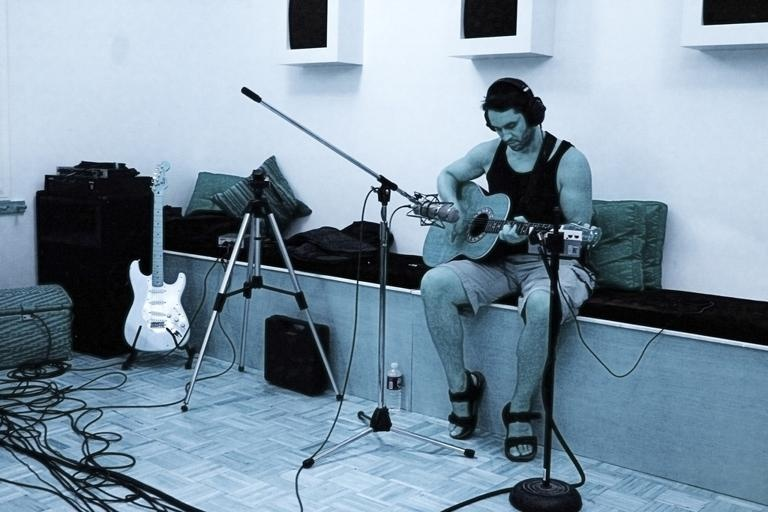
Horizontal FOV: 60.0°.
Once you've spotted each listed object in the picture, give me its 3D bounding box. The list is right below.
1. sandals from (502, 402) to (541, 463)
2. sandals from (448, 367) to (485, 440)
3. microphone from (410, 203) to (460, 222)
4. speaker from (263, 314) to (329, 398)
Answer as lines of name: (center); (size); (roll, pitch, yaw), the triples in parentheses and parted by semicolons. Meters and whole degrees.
sandals: (0.701, 0.889, 3.411); (0.197, 0.260, 0.197); (4, 14, 13)
sandals: (0.457, 0.804, 3.608); (0.160, 0.400, 0.160); (10, -4, -44)
microphone: (0.270, -0.237, 3.424); (0.263, 0.100, 0.100); (8, 54, 39)
speaker: (-0.522, 0.617, 4.056); (0.420, 0.461, 0.158); (7, 10, 36)
